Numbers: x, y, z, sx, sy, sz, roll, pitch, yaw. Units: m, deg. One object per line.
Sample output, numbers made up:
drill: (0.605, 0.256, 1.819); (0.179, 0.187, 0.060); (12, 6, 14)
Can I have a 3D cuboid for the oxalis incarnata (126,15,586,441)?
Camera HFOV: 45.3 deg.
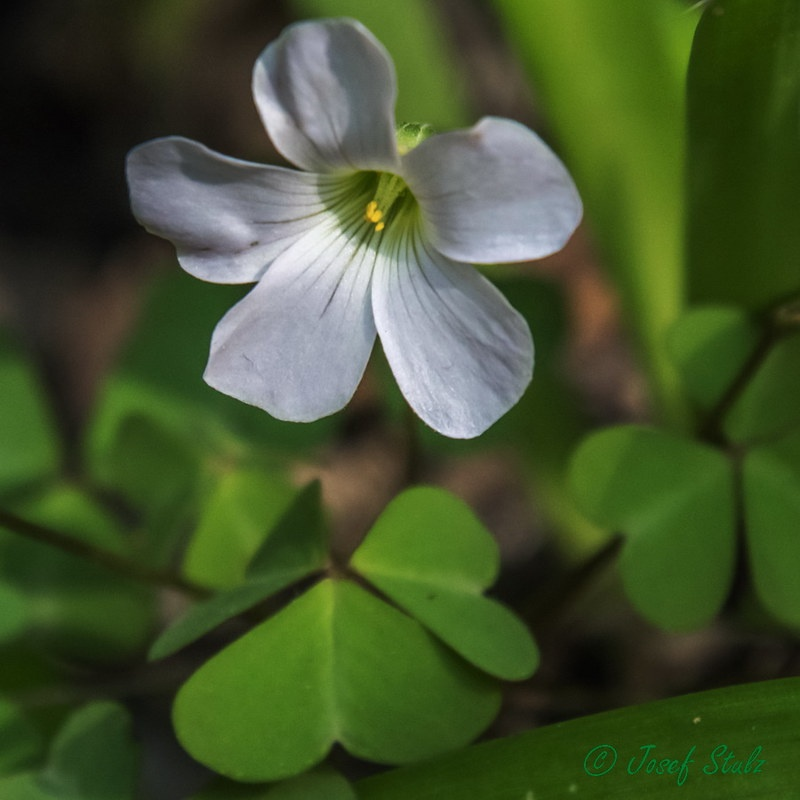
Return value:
oxalis incarnata: (-0.016, -0.170, 0.842); (0.382, 0.212, 0.478); (10, 32, 27)
